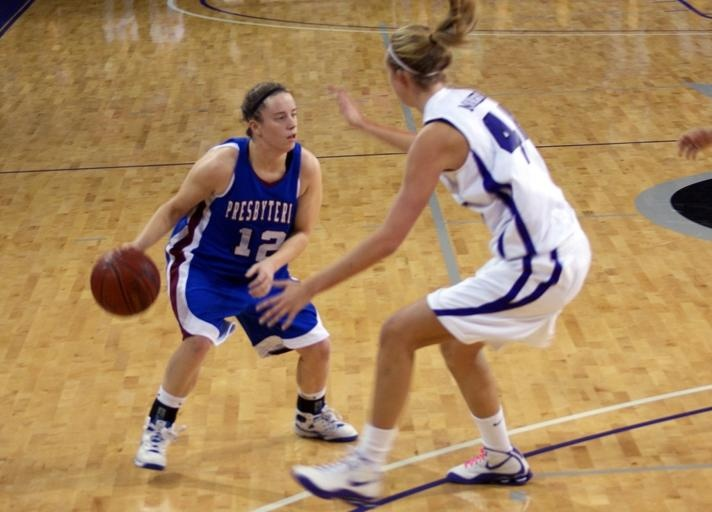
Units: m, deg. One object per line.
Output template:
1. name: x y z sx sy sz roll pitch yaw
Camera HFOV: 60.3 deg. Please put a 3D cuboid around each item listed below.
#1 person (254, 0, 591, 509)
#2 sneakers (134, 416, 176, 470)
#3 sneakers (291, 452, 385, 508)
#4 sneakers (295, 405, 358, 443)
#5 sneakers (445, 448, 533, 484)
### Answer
1. person: 0.338 0.121 2.321 1.021 1.873 1.151 10 38 8
2. sneakers: -0.897 0.837 2.715 0.130 0.117 0.289 22 9 -18
3. sneakers: -0.038 0.831 2.298 0.455 0.223 0.135 9 37 -13
4. sneakers: -0.139 0.805 3.005 0.326 0.137 0.143 7 23 5
5. sneakers: 0.572 0.908 2.654 0.400 0.137 0.155 -14 69 30
